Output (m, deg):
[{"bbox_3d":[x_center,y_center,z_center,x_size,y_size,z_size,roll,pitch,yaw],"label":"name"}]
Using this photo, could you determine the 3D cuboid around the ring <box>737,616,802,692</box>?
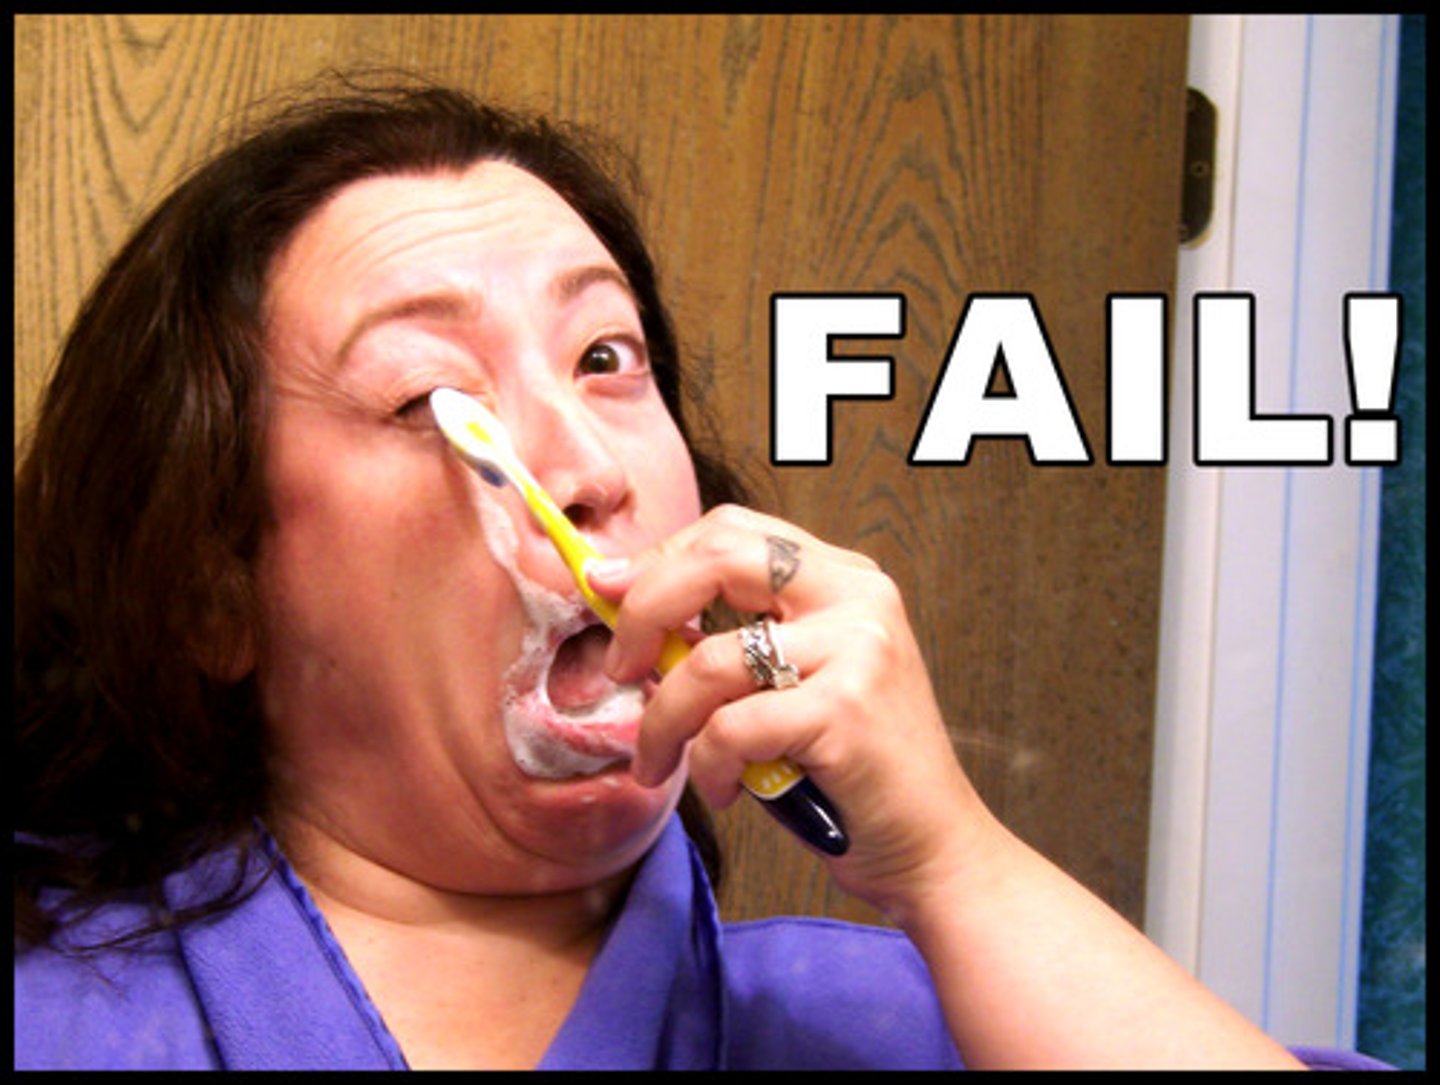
[{"bbox_3d":[0.034,0.074,0.918,0.033,0.017,0.044,-19,87,-8],"label":"ring"}]
